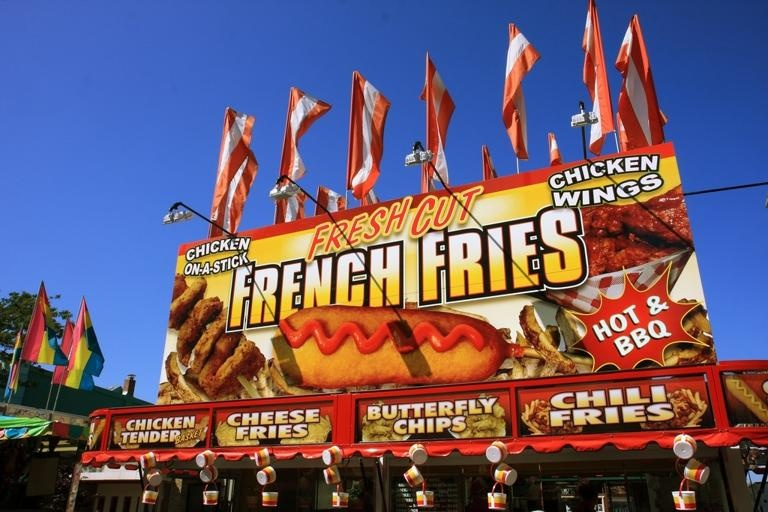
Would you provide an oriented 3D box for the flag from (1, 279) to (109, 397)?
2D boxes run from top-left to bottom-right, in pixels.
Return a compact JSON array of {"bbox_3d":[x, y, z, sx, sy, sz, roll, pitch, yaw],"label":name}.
[{"bbox_3d":[-14.399,3.733,26.521,3.375,4.320,3.636,13,-28,-29],"label":"flag"}]

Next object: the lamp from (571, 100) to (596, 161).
[{"bbox_3d":[6.539,-3.844,19.176,0.875,0.511,2.685,-8,-47,15],"label":"lamp"}]
